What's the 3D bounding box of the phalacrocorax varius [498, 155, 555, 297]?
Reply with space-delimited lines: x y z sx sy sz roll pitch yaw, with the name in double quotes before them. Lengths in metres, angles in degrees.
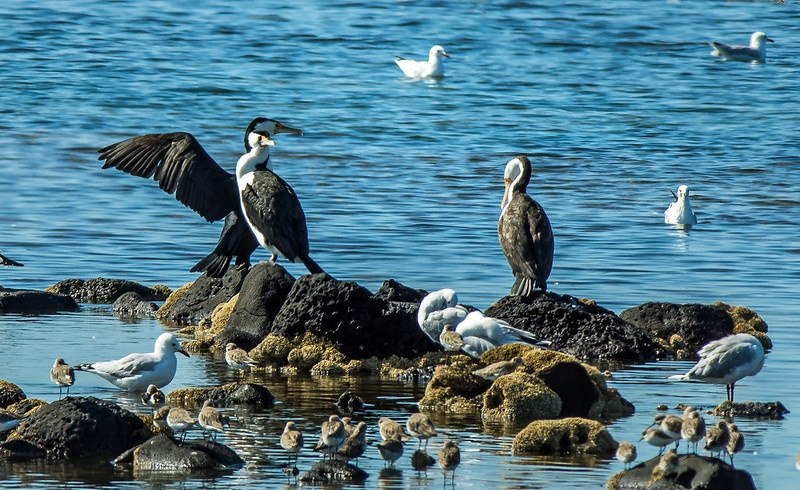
"phalacrocorax varius" 3.234 -0.575 41.616 1.381 3.305 2.238 4 1 3
